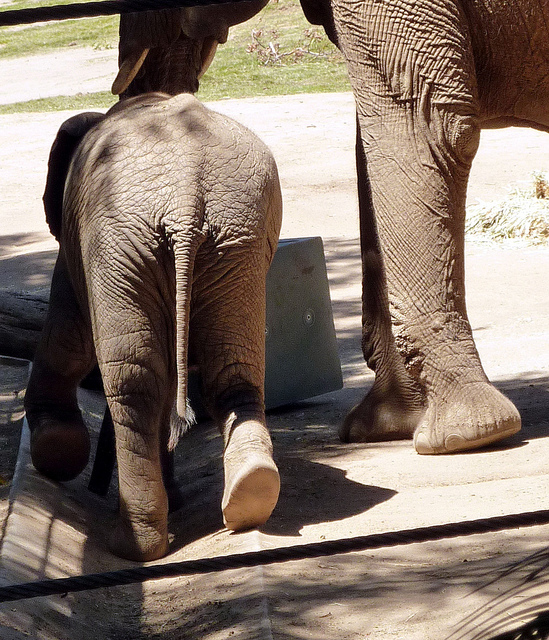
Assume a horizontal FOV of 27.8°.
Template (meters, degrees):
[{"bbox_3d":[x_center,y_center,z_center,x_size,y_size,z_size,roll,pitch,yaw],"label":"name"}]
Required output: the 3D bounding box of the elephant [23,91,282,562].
[{"bbox_3d":[-0.467,-0.089,4.126,0.847,1.529,1.893,1,10,-16],"label":"elephant"}]
